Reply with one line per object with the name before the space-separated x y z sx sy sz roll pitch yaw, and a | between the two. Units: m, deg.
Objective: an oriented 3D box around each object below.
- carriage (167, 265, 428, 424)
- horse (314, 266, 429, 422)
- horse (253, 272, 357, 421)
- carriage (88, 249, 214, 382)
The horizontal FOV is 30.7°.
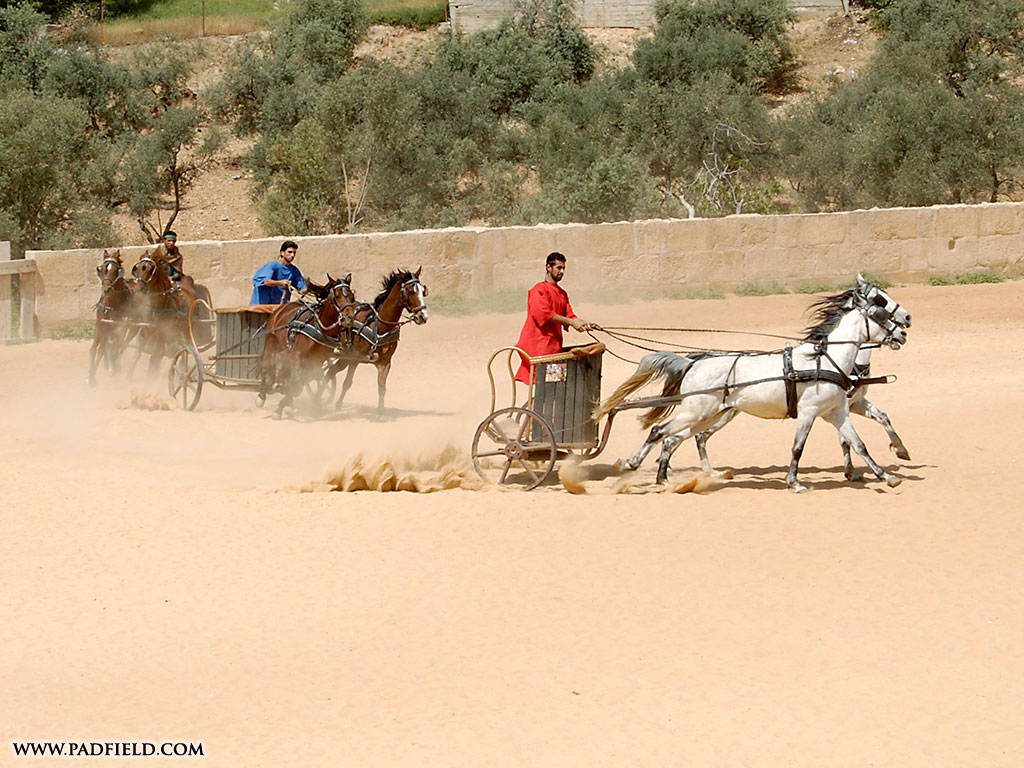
carriage | -3.997 -0.795 32.861 3.773 1.637 2.154 -2 11 31
horse | -2.535 -0.617 32.825 0.994 2.273 3.614 10 -11 -33
horse | -3.643 -0.763 32.797 0.760 2.187 3.234 3 0 -33
carriage | -6.728 -1.194 34.976 1.277 2.419 4.353 1 -4 14
